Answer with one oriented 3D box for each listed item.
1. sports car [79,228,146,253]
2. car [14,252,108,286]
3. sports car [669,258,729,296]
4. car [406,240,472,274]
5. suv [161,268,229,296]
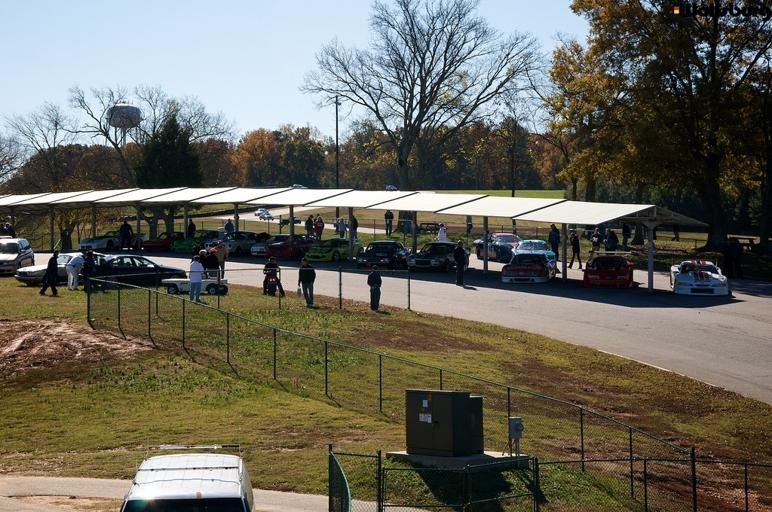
[{"bbox_3d":[-19.018,-0.976,83.436,4.122,1.275,3.586,0,2,-17],"label":"sports car"},{"bbox_3d":[-17.600,0.973,66.475,2.126,1.669,5.348,0,2,39],"label":"car"},{"bbox_3d":[17.408,1.074,67.253,3.103,1.549,5.343,2,7,12],"label":"sports car"},{"bbox_3d":[4.118,0.095,72.414,2.493,2.140,5.673,0,0,26],"label":"car"},{"bbox_3d":[-9.665,1.273,60.624,2.632,1.230,1.486,1,-1,2],"label":"suv"}]
